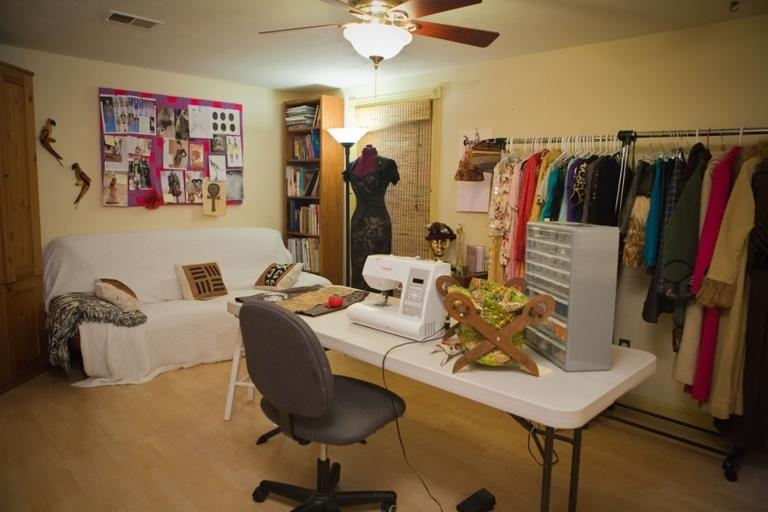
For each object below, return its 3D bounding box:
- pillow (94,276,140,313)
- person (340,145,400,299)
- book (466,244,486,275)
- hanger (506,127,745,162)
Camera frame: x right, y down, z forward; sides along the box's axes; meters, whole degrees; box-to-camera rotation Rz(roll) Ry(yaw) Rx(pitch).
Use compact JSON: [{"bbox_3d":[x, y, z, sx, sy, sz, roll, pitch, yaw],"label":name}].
[{"bbox_3d":[-2.442,0.341,4.664,0.324,0.261,0.487,-8,14,-30],"label":"pillow"},{"bbox_3d":[-0.138,-0.388,5.445,0.603,1.508,0.271,0,13,4],"label":"person"},{"bbox_3d":[0.922,0.048,5.145,0.246,0.339,0.180,7,9,40],"label":"book"},{"bbox_3d":[1.885,-0.927,4.215,1.916,0.188,0.650,8,15,36],"label":"hanger"}]
